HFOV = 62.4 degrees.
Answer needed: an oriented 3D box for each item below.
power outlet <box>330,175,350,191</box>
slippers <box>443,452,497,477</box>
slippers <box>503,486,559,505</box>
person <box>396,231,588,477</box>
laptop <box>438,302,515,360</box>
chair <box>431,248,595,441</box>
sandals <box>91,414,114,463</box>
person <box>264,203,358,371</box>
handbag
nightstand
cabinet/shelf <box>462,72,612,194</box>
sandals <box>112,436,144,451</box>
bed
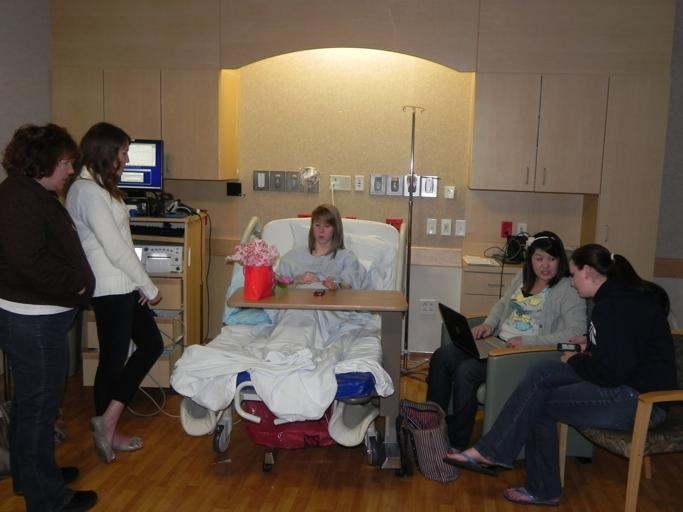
[{"bbox_3d":[-0.013,-0.661,5.093,0.206,0.153,0.114,0,15,1],"label":"power outlet"},{"bbox_3d":[0.699,1.110,3.076,0.296,0.086,0.113,18,-4,3],"label":"slippers"},{"bbox_3d":[1.034,1.311,3.077,0.232,0.070,0.106,3,3,16],"label":"slippers"},{"bbox_3d":[1.078,0.620,3.722,0.860,1.626,0.835,0,11,-10],"label":"person"},{"bbox_3d":[0.887,0.462,3.595,0.371,0.332,0.491,-14,4,-12],"label":"laptop"},{"bbox_3d":[1.072,0.562,3.657,0.811,1.387,1.013,2,8,-23],"label":"chair"},{"bbox_3d":[-1.407,1.066,3.315,0.098,0.287,0.082,-5,0,21],"label":"sandals"},{"bbox_3d":[-0.193,0.130,3.791,0.654,0.944,0.878,1,5,13],"label":"person"},{"bbox_3d":[0.536,1.119,3.369,0.269,0.445,0.334,-13,6,-8],"label":"handbag"},{"bbox_3d":[1.157,0.199,4.805,0.627,0.681,0.388,0,4,1],"label":"nightstand"},{"bbox_3d":[1.642,-1.049,4.704,1.052,0.995,0.399,6,30,21],"label":"cabinet/shelf"},{"bbox_3d":[-1.321,1.156,3.486,0.137,0.040,0.079,0,6,9],"label":"sandals"},{"bbox_3d":[-0.202,0.516,3.920,1.218,1.366,2.172,2,7,8],"label":"bed"}]
